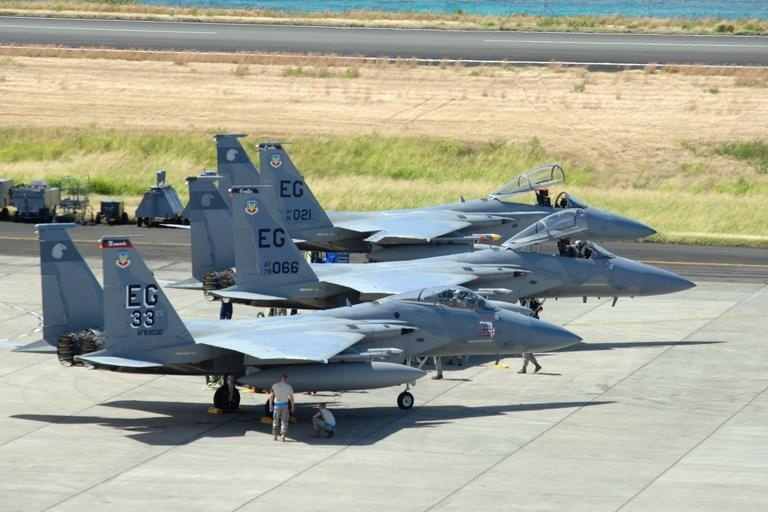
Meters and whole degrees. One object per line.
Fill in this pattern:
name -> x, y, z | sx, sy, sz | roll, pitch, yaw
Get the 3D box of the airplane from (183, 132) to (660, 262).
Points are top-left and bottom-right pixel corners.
airplane -> 2.188, -2.408, 81.939 | 19.247, 3.390, 10.758 | -1, 11, -9

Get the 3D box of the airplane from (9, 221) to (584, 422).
airplane -> -4.913, 3.762, 68.798 | 20.192, 3.643, 12.090 | -1, 6, -19

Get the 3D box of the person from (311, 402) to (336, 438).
person -> -2.970, 7.731, 67.152 | 1.055, 1.441, 0.920 | -3, 11, -2
